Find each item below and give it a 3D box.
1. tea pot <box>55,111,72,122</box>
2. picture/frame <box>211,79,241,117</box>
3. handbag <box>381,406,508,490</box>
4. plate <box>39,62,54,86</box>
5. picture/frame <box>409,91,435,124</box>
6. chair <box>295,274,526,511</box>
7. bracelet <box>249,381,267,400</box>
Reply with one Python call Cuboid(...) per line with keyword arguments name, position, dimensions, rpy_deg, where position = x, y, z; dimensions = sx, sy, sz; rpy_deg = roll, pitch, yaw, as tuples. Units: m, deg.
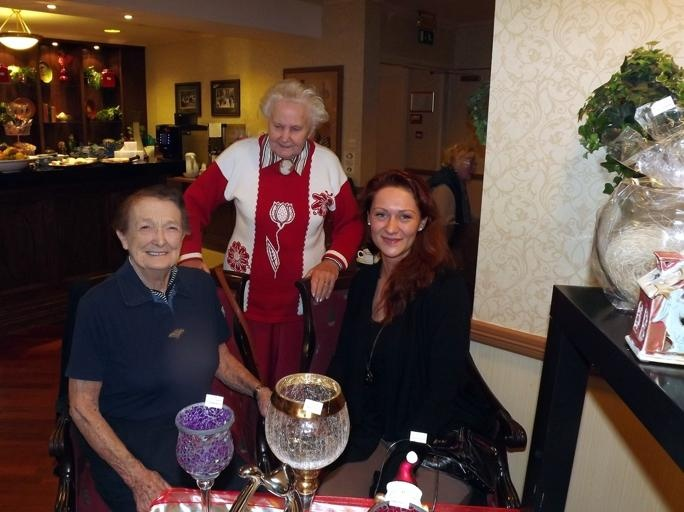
Cuboid(name="tea pot", position=(-4.585, -2.287, 8.109), dimensions=(0.175, 0.104, 0.191), rpy_deg=(1, 0, 0))
Cuboid(name="picture/frame", position=(-1.766, -2.428, 7.553), dimensions=(0.598, 0.647, 0.062), rpy_deg=(2, 5, 35))
Cuboid(name="handbag", position=(0.316, 0.623, 1.553), dimensions=(0.326, 0.154, 0.263), rpy_deg=(6, 0, 7))
Cuboid(name="plate", position=(-4.756, -2.927, 7.924), dimensions=(0.191, 0.309, 0.374), rpy_deg=(-7, 15, -27))
Cuboid(name="picture/frame", position=(1.294, -2.405, 7.934), dimensions=(0.409, 0.557, 0.039), rpy_deg=(11, 35, 18))
Cuboid(name="chair", position=(0.144, 0.486, 2.132), dimensions=(0.628, 1.097, 0.729), rpy_deg=(-8, -6, 45))
Cuboid(name="bracelet", position=(-0.287, 0.466, 1.719), dimensions=(0.045, 0.050, 0.022), rpy_deg=(24, 28, -38))
